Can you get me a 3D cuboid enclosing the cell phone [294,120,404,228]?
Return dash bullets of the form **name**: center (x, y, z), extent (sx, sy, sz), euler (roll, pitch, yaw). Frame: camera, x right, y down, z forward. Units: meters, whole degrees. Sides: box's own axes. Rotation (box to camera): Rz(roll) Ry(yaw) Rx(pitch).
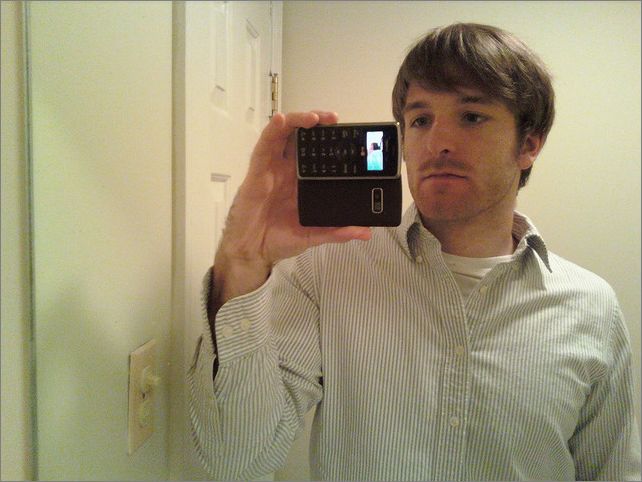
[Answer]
- **cell phone**: center (0.048, -0.116, 1.025), extent (0.173, 0.171, 0.023), euler (-1, 5, 0)
